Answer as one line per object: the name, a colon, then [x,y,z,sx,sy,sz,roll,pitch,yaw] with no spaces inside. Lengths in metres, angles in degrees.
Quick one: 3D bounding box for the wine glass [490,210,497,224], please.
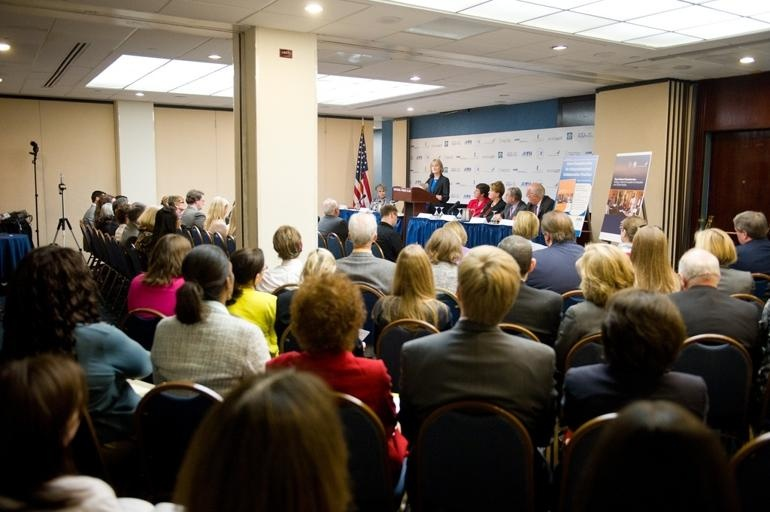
wine glass: [1.764,-0.627,8.482,0.167,0.203,0.174,0,3,6]
